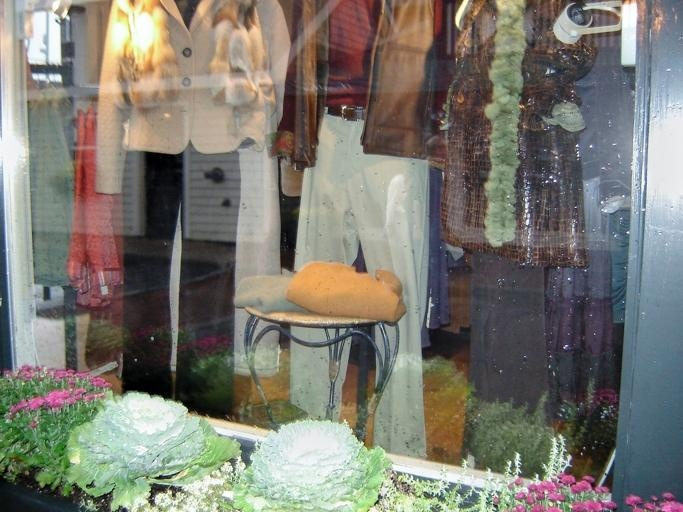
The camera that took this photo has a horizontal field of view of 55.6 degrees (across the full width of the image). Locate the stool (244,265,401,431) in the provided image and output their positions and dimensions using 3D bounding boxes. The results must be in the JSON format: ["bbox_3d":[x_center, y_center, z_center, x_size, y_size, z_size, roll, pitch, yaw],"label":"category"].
[{"bbox_3d":[-0.044,0.198,1.773,0.396,0.498,0.401,1,-2,26],"label":"stool"}]
